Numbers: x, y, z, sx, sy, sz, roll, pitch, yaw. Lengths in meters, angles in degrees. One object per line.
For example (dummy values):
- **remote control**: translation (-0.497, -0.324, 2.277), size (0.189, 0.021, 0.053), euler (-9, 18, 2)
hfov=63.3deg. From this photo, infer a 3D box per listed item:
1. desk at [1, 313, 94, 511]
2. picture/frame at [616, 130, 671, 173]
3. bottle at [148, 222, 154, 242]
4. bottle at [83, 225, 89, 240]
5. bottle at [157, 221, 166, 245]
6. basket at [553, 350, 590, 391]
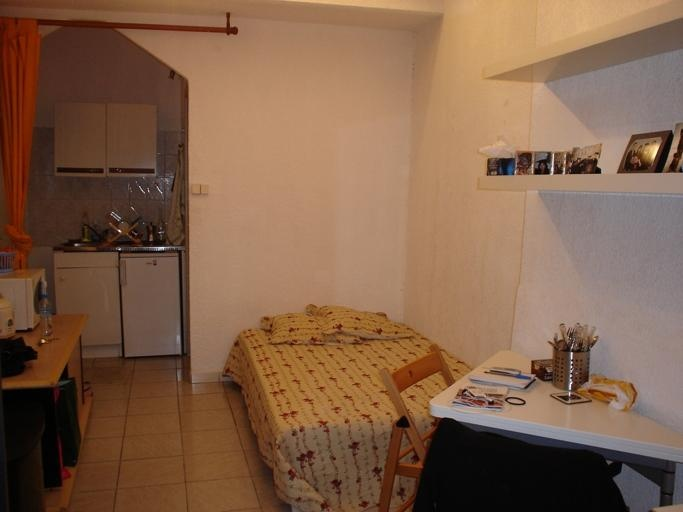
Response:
- **desk**: translation (-1.549, 0.819, 2.888), size (0.239, 0.385, 0.970), euler (-4, 18, -15)
- **picture/frame**: translation (1.290, -0.446, 2.395), size (0.192, 0.185, 0.027), euler (-5, 31, -9)
- **bottle**: translation (-2.054, -0.258, 5.929), size (0.063, 0.172, 0.261), euler (-2, 11, -18)
- **bottle**: translation (-2.713, -0.243, 5.865), size (0.050, 0.153, 0.090), euler (-1, 10, -17)
- **bottle**: translation (-1.964, -0.264, 6.000), size (0.080, 0.178, 0.253), euler (-2, 11, -18)
- **basket**: translation (1.061, 0.528, 2.567), size (0.165, 0.194, 0.175), euler (0, 2, 0)
